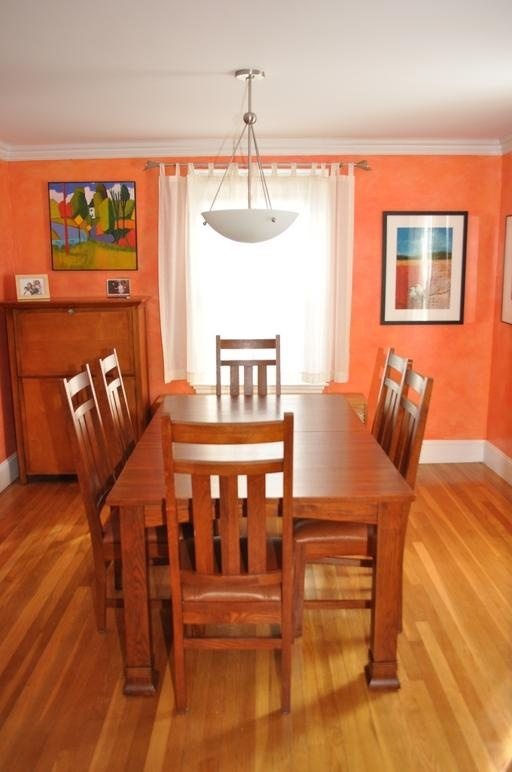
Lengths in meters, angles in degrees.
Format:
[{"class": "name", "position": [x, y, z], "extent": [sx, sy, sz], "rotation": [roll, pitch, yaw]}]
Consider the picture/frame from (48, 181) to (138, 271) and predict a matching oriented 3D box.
[{"class": "picture/frame", "position": [-1.180, -1.196, 4.200], "extent": [0.501, 0.566, 0.014], "rotation": [0, 11, -3]}]

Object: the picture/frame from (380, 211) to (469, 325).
[{"class": "picture/frame", "position": [1.221, -0.857, 4.236], "extent": [0.587, 0.895, 0.032], "rotation": [3, 36, 18]}]

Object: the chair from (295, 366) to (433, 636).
[{"class": "chair", "position": [0.439, 0.492, 2.344], "extent": [0.320, 0.768, 0.926], "rotation": [3, 13, 9]}]

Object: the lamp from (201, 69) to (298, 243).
[{"class": "lamp", "position": [-0.031, -0.986, 2.486], "extent": [0.363, 0.712, 0.383], "rotation": [-5, 10, -30]}]

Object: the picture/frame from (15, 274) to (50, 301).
[{"class": "picture/frame", "position": [-1.560, -0.693, 4.041], "extent": [0.213, 0.181, 0.208], "rotation": [-5, 9, -24]}]

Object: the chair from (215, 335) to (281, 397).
[{"class": "chair", "position": [-0.036, -0.219, 3.578], "extent": [0.411, 0.369, 0.519], "rotation": [-2, 26, -2]}]

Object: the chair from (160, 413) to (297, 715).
[{"class": "chair", "position": [-0.087, 0.527, 1.864], "extent": [0.436, 1.033, 0.737], "rotation": [-1, 8, 0]}]
